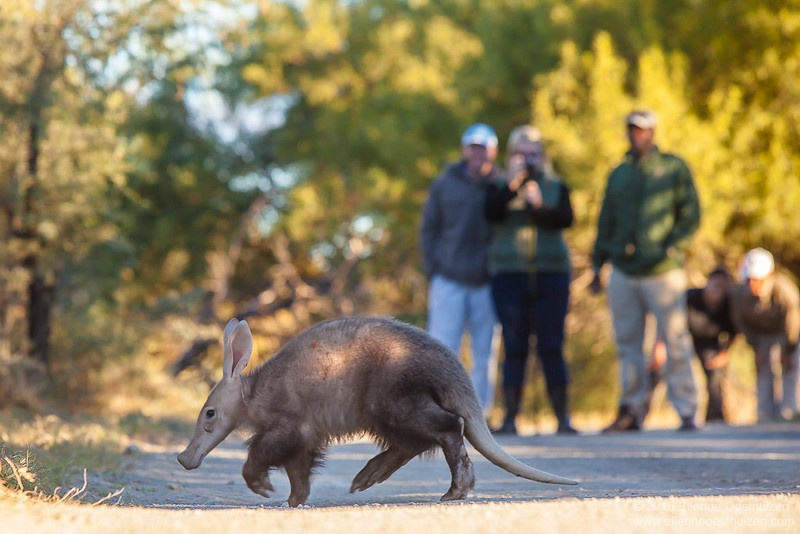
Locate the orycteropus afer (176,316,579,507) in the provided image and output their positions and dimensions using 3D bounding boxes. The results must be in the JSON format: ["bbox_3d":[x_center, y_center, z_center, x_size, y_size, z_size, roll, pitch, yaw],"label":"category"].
[{"bbox_3d":[-0.521,1.488,19.436,3.130,1.945,0.386,2,3,5],"label":"orycteropus afer"}]

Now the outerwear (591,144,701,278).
[{"bbox_3d":[3.077,-0.704,23.088,0.989,1.654,1.513,1,0,2],"label":"outerwear"}]

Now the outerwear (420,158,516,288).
[{"bbox_3d":[0.785,-0.515,22.586,0.750,1.467,1.065,1,-2,0],"label":"outerwear"}]
